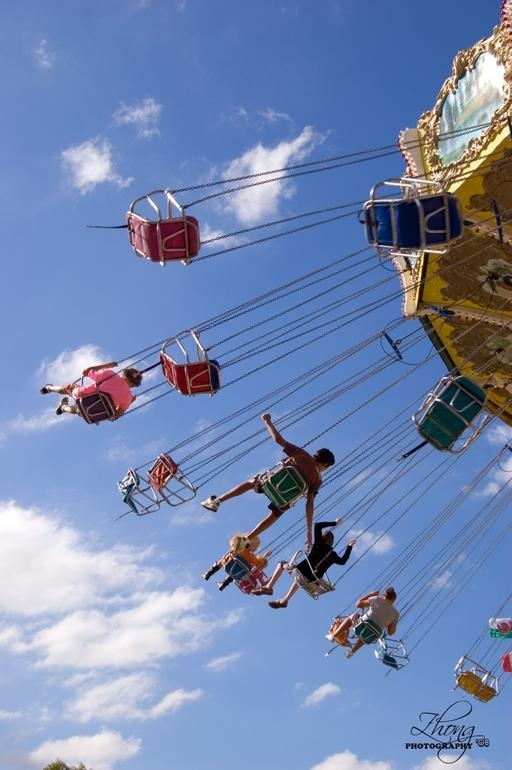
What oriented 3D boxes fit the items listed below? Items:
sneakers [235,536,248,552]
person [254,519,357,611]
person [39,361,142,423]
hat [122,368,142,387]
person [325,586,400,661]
[{"bbox_3d":[-0.185,1.906,9.634,0.164,0.166,0.158,-4,-13,-2],"label":"sneakers"},{"bbox_3d":[0.678,2.041,9.412,0.872,1.224,0.599,1,-45,36],"label":"person"},{"bbox_3d":[-2.219,-0.025,10.336,0.992,0.618,0.533,8,-14,18],"label":"person"},{"bbox_3d":[-1.520,-0.095,9.767,0.204,0.200,0.145,3,-69,-48],"label":"hat"},{"bbox_3d":[1.514,3.321,11.260,0.881,0.670,1.210,-51,3,-39],"label":"person"}]
